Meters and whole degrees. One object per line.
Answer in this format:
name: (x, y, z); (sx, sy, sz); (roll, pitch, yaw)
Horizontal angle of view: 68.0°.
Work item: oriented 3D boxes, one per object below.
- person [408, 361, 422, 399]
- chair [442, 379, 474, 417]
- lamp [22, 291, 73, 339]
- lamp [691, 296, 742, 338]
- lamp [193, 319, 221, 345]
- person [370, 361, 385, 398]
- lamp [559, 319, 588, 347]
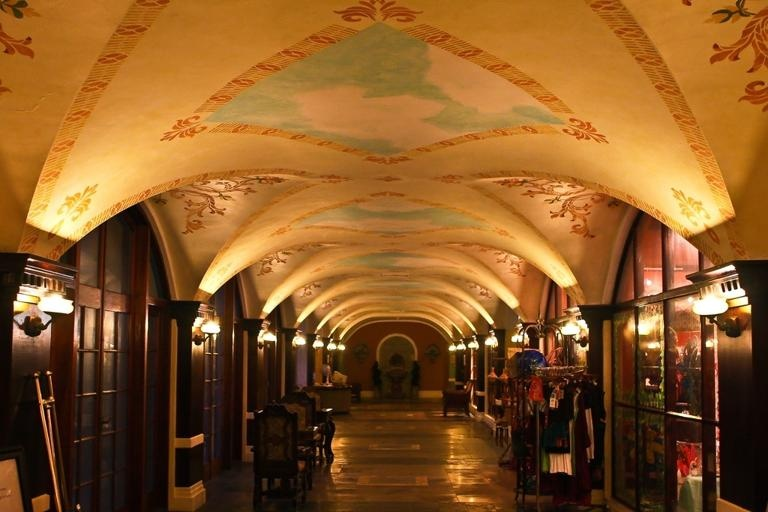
person: (2.012, 7.780, 36.017); (0.722, 2.277, 0.549); (2, -14, -10)
chair: (3.218, 5.984, 24.412); (1.398, 1.531, 1.320); (-2, 2, 12)
lamp: (-3.371, 0.583, 5.721); (0.366, 0.482, 0.623); (5, -14, -20)
lamp: (3.274, 0.580, 5.575); (0.435, 0.305, 0.244); (3, -7, -42)
lamp: (-3.095, 1.337, 9.932); (0.268, 0.465, 0.632); (0, -13, 1)
person: (-0.438, 7.731, 35.780); (0.728, 2.268, 0.565); (1, -13, -4)
lamp: (3.612, 1.475, 10.822); (0.347, 0.597, 1.838); (-4, -13, 14)
